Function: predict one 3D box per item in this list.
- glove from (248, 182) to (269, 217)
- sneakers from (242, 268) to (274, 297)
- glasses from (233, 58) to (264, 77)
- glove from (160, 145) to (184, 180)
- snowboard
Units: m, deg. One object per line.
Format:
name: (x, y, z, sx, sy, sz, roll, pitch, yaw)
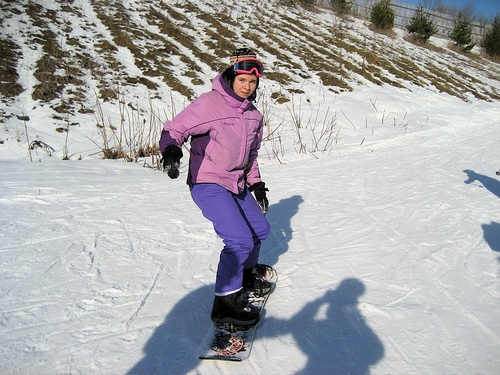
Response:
glove: (0.110, 0.127, 5.277, 0.216, 0.351, 0.176, -2, -3, 17)
sneakers: (0.098, 1.071, 5.175, 0.343, 0.120, 0.260, 8, 31, 10)
glasses: (-0.001, -1.252, 4.763, 0.237, 0.116, 0.215, -1, -6, -36)
glove: (-0.741, -0.229, 4.609, 0.235, 0.301, 0.154, -16, -28, 38)
snowboard: (-0.113, 1.233, 4.528, 0.520, 1.662, 0.281, 8, 33, -12)
